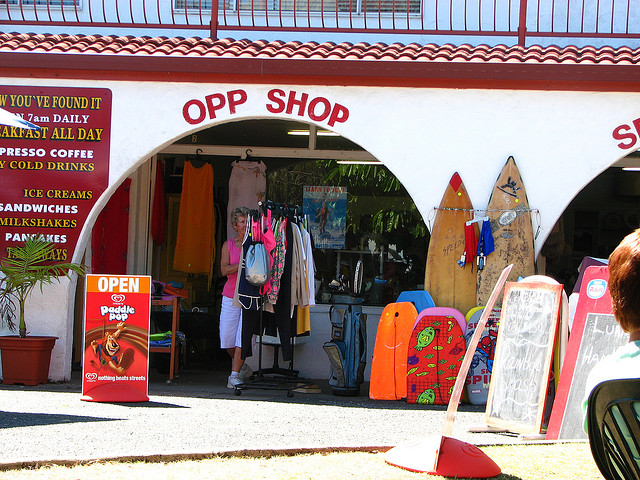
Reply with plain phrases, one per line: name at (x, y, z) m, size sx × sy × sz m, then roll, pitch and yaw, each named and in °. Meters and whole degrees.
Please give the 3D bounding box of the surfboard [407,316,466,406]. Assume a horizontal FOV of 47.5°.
surfboard at (1.260, 1.322, 7.845) m, size 0.793 × 1.305 × 0.439 m, roll 2°, pitch -8°, yaw 6°

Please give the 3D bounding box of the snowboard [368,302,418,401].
snowboard at (0.836, 1.263, 8.257) m, size 0.479 × 1.112 × 0.150 m, roll 3°, pitch -3°, yaw 9°

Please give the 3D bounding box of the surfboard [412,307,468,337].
surfboard at (1.392, 1.067, 8.480) m, size 0.516 × 0.363 × 1.384 m, roll -2°, pitch -17°, yaw 12°

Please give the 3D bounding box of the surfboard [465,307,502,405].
surfboard at (1.856, 1.293, 8.103) m, size 0.431 × 1.077 × 0.254 m, roll 6°, pitch -4°, yaw -39°

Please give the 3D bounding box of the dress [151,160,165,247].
dress at (-2.527, -0.569, 11.429) m, size 0.132 × 0.911 × 0.304 m, roll 3°, pitch -3°, yaw 11°

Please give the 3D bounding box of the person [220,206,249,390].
person at (-1.028, 0.689, 8.645) m, size 0.349 × 2.157 × 0.717 m, roll 4°, pitch -3°, yaw -8°

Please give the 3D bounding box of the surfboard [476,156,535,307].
surfboard at (2.156, 0.119, 8.374) m, size 0.596 × 2.449 × 0.161 m, roll 3°, pitch -25°, yaw 15°
